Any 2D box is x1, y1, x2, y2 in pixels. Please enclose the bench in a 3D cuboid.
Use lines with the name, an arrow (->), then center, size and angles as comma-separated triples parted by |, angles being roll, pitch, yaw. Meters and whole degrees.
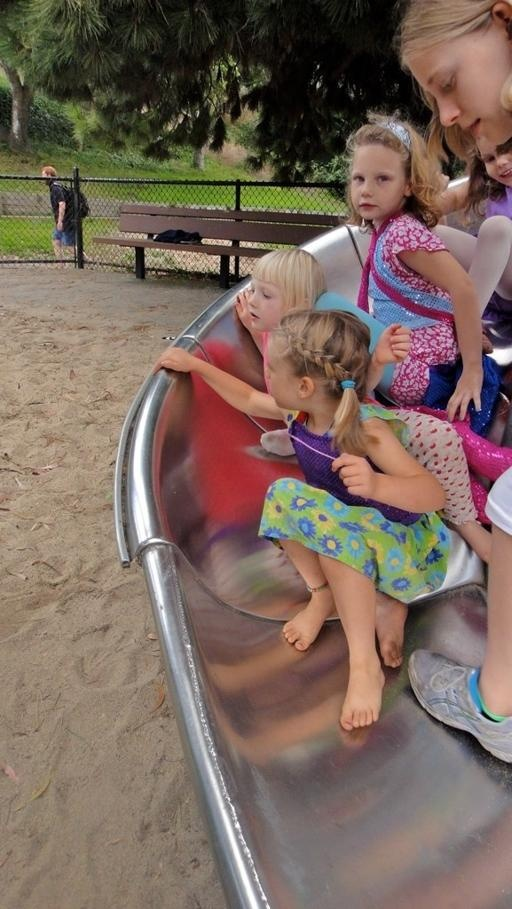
bench -> -0.246, -1.681, 5.673 | 2.170, 0.713, 0.600 | 9, 14, 16

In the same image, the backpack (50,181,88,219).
backpack -> -2.024, -2.659, 7.408 | 0.358, 0.495, 0.592 | -4, 24, -18
